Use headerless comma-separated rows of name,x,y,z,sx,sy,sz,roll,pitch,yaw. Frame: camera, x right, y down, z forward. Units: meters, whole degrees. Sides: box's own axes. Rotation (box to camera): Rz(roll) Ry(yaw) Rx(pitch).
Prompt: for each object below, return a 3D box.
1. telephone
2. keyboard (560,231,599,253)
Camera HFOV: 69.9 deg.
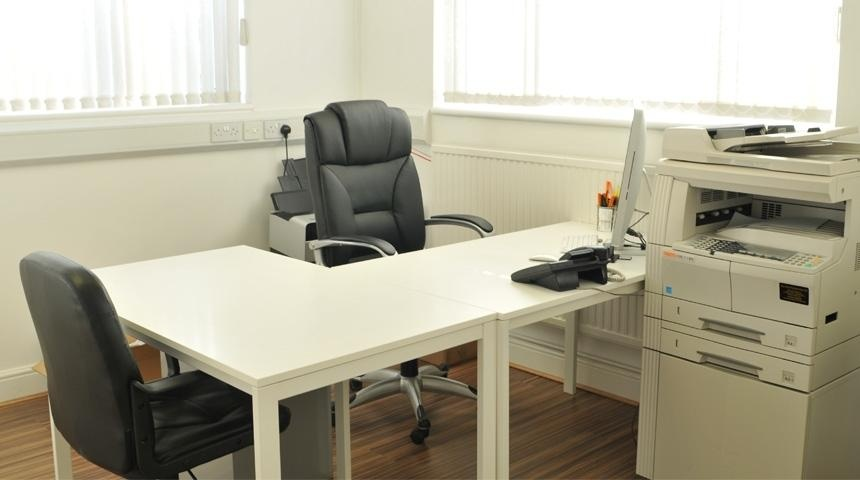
telephone,0.701,0.141,3.222,0.376,0.158,0.285,-8,15,-41
keyboard,0.884,0.014,3.629,0.137,0.041,0.188,0,20,7
